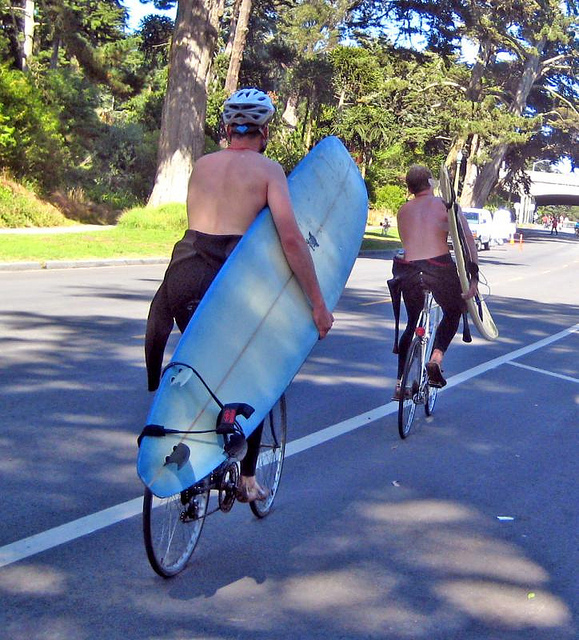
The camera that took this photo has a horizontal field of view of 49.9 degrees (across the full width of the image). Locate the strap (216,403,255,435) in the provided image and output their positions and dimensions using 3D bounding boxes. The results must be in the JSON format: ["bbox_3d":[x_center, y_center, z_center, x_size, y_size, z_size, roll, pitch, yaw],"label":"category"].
[{"bbox_3d":[-0.210,0.376,2.372,0.085,0.029,0.125,10,36,5],"label":"strap"}]

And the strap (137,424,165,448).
[{"bbox_3d":[-0.474,0.390,2.140,0.064,0.086,0.032,2,11,2],"label":"strap"}]

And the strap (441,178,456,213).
[{"bbox_3d":[1.215,-0.918,4.788,0.118,0.156,0.058,-21,21,-29],"label":"strap"}]

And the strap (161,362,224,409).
[{"bbox_3d":[-0.358,0.242,2.349,0.248,0.059,0.136,39,35,-8],"label":"strap"}]

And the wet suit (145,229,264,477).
[{"bbox_3d":[-0.448,0.018,2.663,0.366,1.245,0.183,7,-16,7],"label":"wet suit"}]

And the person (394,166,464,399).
[{"bbox_3d":[1.037,-0.335,4.851,0.445,1.698,0.695,8,6,43],"label":"person"}]

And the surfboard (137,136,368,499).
[{"bbox_3d":[-0.089,-0.050,2.618,0.506,1.717,0.364,27,-22,1],"label":"surfboard"}]

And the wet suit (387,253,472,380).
[{"bbox_3d":[1.110,-0.033,4.908,0.674,0.993,0.507,3,5,-19],"label":"wet suit"}]
